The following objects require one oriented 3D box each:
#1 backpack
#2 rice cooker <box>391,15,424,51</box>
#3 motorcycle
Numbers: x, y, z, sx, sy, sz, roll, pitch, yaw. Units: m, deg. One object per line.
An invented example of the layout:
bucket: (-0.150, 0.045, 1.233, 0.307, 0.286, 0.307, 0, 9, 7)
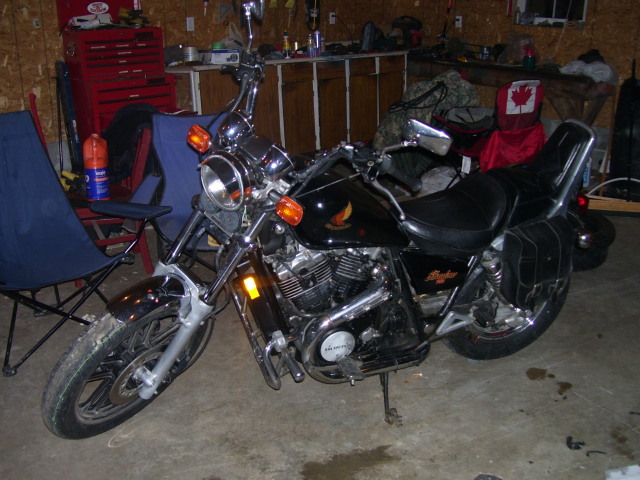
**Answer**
backpack: (-1.411, -0.731, 3.653, 0.211, 0.586, 0.449, 24, 12, 25)
rice cooker: (1.253, -2.972, 7.362, 0.419, 0.454, 0.277, 9, 31, 19)
motorcycle: (0.100, -0.104, 3.103, 3.196, 1.875, 1.517, -14, 35, -16)
